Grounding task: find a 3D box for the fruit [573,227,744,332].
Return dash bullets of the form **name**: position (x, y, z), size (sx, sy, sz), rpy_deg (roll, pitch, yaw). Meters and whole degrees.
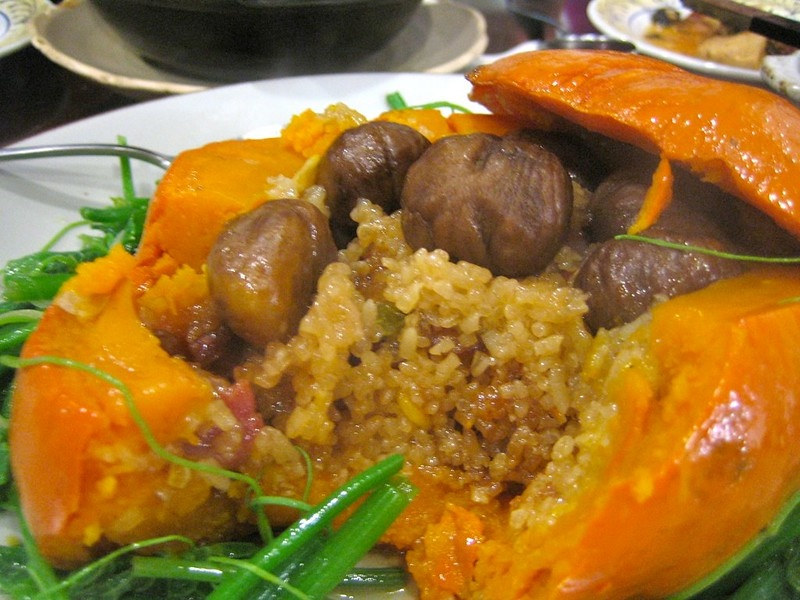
- **fruit**: position (0.450, -0.037, 1.531), size (0.311, 0.190, 0.105), rpy_deg (-3, 76, 13)
